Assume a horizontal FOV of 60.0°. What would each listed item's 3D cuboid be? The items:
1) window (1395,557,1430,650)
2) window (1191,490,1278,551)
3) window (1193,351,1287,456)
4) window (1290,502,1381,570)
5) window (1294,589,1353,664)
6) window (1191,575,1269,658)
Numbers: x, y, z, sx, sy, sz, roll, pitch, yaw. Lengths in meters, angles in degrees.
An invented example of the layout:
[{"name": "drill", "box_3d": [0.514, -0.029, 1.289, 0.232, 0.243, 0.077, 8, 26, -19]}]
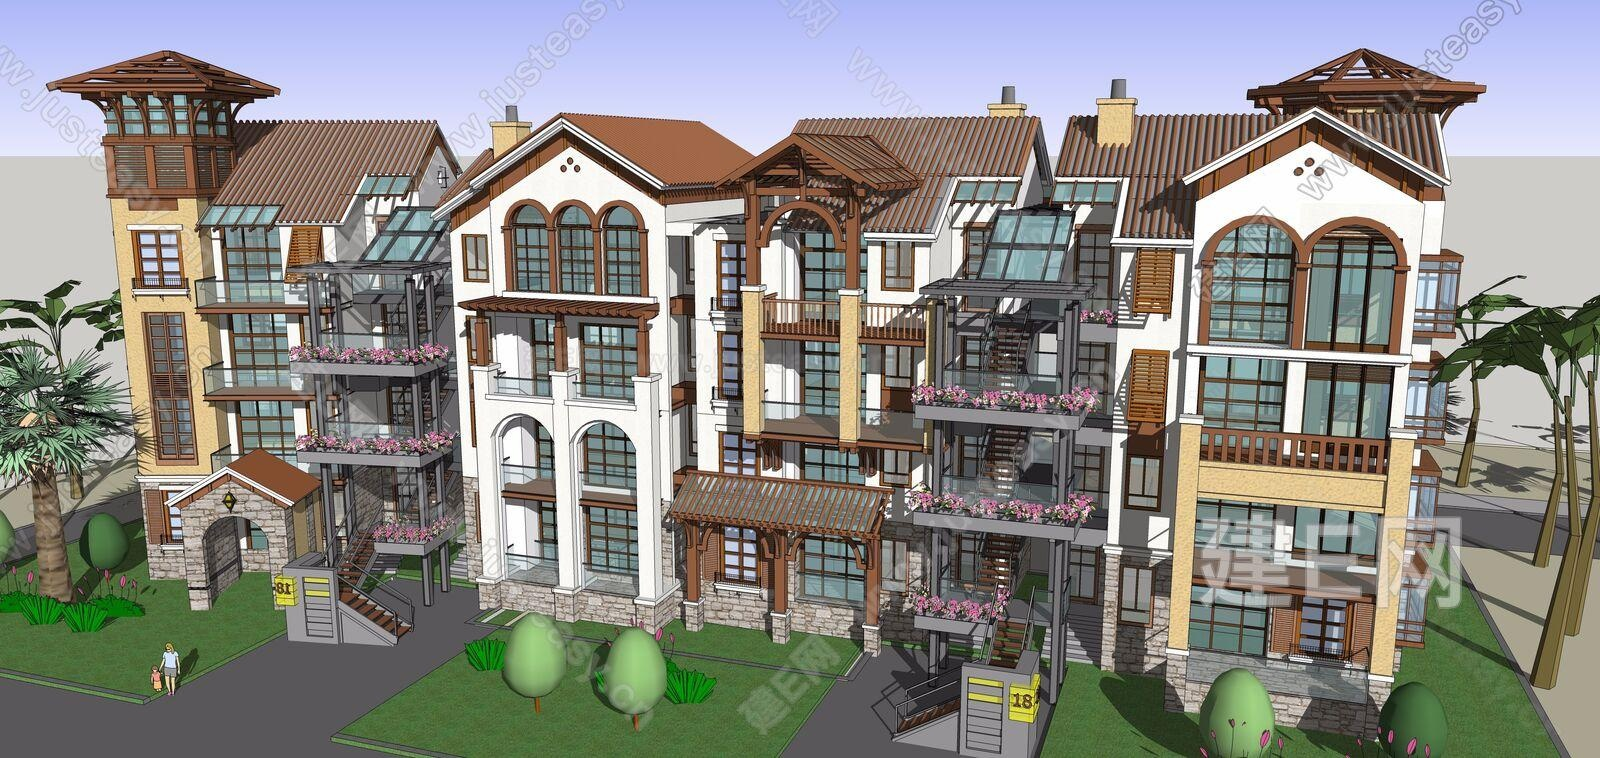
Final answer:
[{"name": "window", "box_3d": [36.757, 13.464, 83.680, 1.453, 5.779, 2.922, 4, 2, 22]}, {"name": "window", "box_3d": [25.601, 8.760, 82.203, 0.200, 3.004, 5.523, 20, -19, -32]}, {"name": "window", "box_3d": [25.758, 1.457, 81.241, 7.238, 6.752, 0.413, 1, 7, 5]}, {"name": "window", "box_3d": [31.322, 9.343, 83.559, 6.654, 3.848, 3.248, 8, -7, -10]}, {"name": "window", "box_3d": [31.202, 15.002, 82.933, 2.724, 3.594, 0.852, 4, 1, 18]}, {"name": "window", "box_3d": [25.802, 14.218, 83.168, 6.079, 4.304, 0.572, 2, 9, 7]}]
